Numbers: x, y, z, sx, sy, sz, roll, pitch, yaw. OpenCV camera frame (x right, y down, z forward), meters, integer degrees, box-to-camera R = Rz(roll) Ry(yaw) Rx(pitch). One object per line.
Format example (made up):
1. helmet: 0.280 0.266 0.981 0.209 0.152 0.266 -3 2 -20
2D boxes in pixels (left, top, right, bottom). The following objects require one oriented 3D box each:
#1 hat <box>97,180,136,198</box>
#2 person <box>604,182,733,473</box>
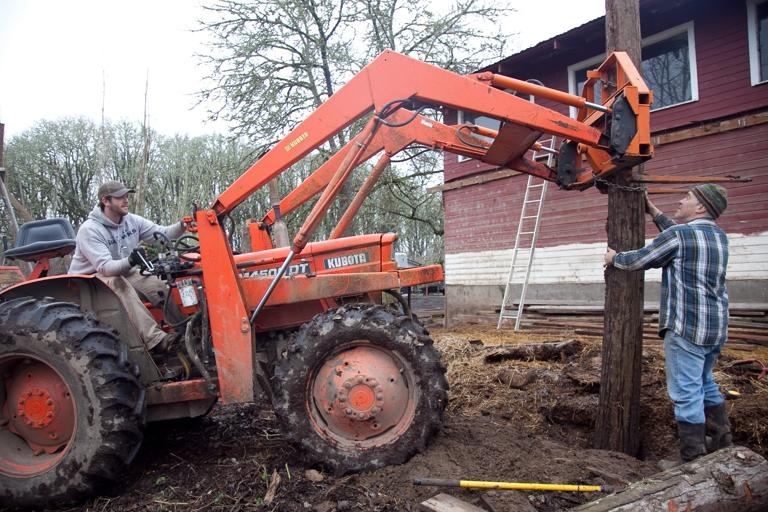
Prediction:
1. hat: -3.059 -0.748 5.778 0.352 0.149 0.249 -5 2 -3
2. person: 2.989 0.813 4.969 1.118 2.301 0.711 0 10 12
